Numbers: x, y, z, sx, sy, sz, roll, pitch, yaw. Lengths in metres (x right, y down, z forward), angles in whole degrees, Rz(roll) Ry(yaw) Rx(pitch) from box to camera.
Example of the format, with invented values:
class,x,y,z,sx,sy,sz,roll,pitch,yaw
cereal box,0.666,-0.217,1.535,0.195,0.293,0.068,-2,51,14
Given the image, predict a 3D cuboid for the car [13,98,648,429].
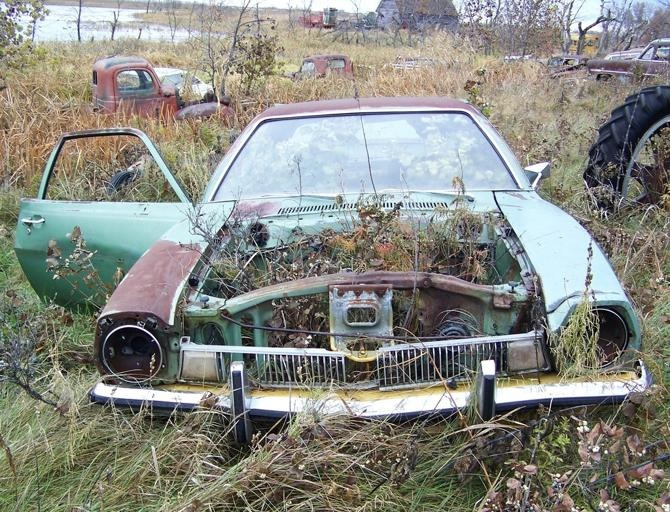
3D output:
class,x,y,z,sx,sy,sz,roll,pitch,yaw
car,-0.094,-0.087,3.811,3.352,1.287,2.041,2,18,3
